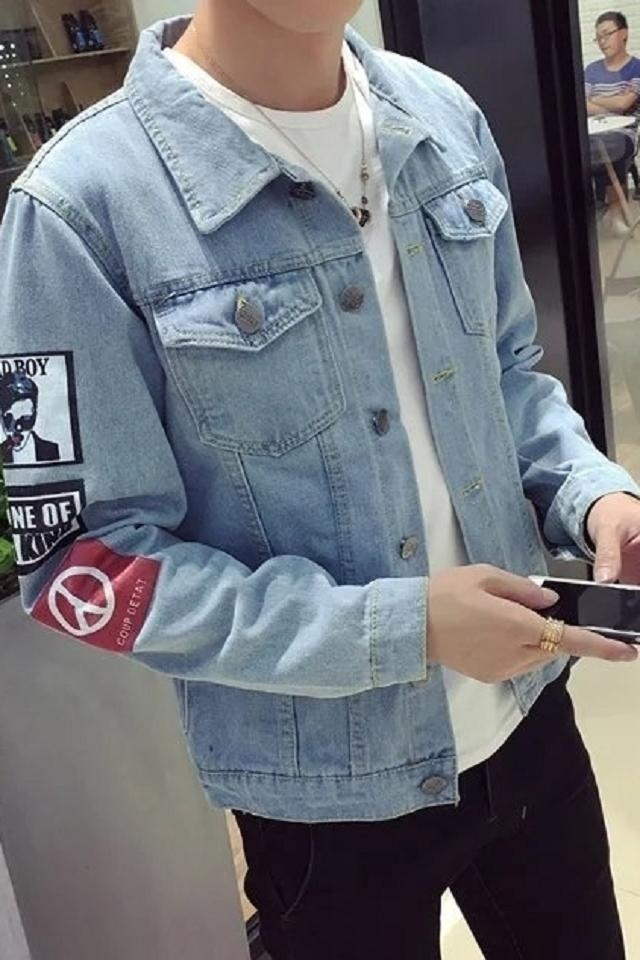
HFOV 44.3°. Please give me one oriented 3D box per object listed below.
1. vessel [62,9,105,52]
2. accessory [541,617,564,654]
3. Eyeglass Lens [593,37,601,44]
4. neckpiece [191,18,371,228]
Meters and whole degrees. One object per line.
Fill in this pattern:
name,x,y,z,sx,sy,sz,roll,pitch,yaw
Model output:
vessel,-0.473,-0.900,1.586,0.056,0.071,0.022,-11,4,-19
accessory,0.178,0.120,0.600,0.016,0.023,0.018,3,37,20
Eyeglass Lens,0.785,-1.242,2.224,0.016,0.015,0.005,-4,-20,-44
neckpiece,0.000,-0.335,0.733,0.113,0.206,0.054,5,-14,16
